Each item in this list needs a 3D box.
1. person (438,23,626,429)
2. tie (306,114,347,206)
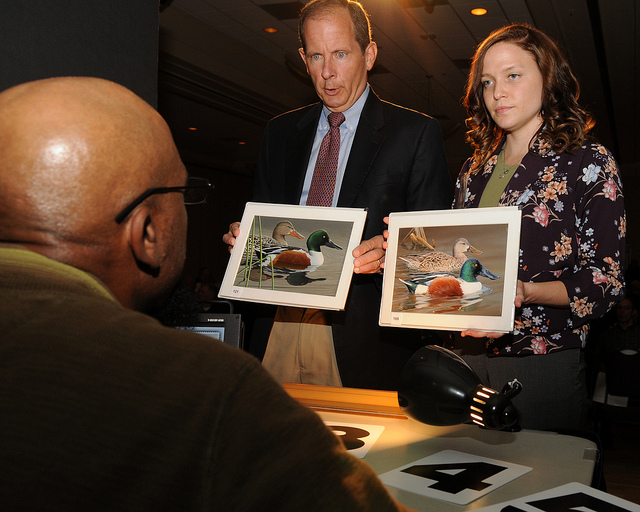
[{"bbox_3d":[0.730,-0.157,1.855,0.546,1.408,0.673,-4,3,-8],"label":"person"},{"bbox_3d":[0.028,-0.438,2.255,0.128,0.494,0.057,10,-24,-7],"label":"tie"}]
